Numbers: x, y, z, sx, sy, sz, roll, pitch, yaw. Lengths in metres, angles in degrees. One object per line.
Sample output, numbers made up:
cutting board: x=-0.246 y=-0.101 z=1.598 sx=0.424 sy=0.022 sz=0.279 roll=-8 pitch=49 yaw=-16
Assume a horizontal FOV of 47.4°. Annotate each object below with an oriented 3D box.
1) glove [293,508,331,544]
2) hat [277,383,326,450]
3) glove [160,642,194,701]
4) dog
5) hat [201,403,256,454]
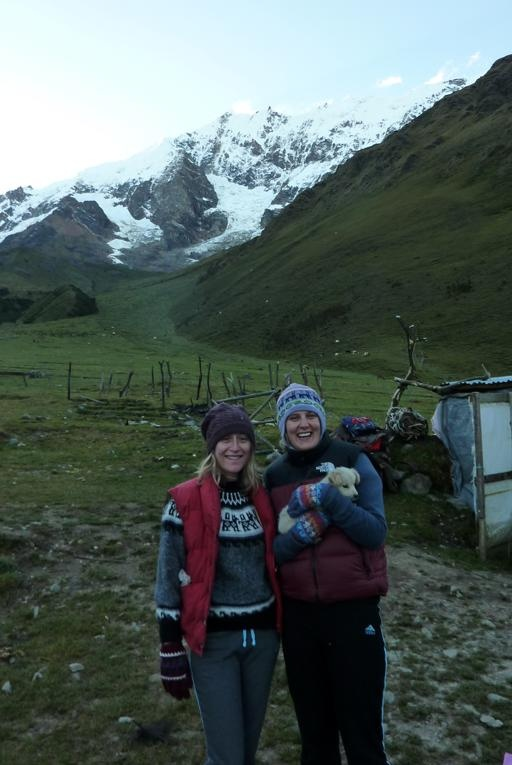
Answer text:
glove: x=0.369 y=0.987 z=3.983 sx=0.208 sy=0.101 sz=0.262 roll=16 pitch=-29 yaw=-18
hat: x=0.340 y=0.234 z=4.764 sx=0.368 sy=0.497 sz=0.503 roll=1 pitch=-33 yaw=2
glove: x=-0.545 y=1.949 z=3.946 sx=0.214 sy=0.378 sz=0.294 roll=2 pitch=5 yaw=-6
dog: x=0.511 y=0.817 z=4.295 sx=0.295 sy=0.416 sz=0.580 roll=4 pitch=1 yaw=-41
hat: x=-0.311 y=0.361 z=4.584 sx=0.351 sy=0.379 sz=0.422 roll=6 pitch=-1 yaw=-42
